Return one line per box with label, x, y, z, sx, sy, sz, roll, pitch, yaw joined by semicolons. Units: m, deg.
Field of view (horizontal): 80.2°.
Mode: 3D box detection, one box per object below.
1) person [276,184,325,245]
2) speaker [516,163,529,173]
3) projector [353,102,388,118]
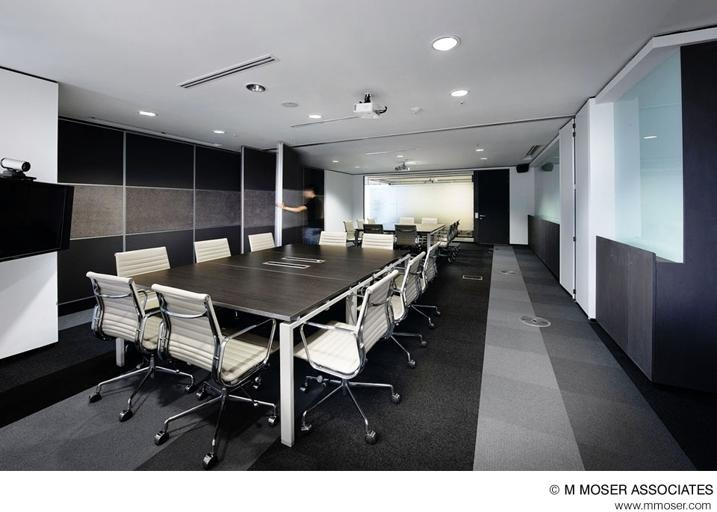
person;-1.424;-0.980;10.156;0.611;1.935;1.516;5;11;25
speaker;4.833;-2.579;12.529;0.230;0.188;0.335;-9;-8;37
projector;0.161;-1.946;5.701;0.242;0.128;0.346;8;15;23
